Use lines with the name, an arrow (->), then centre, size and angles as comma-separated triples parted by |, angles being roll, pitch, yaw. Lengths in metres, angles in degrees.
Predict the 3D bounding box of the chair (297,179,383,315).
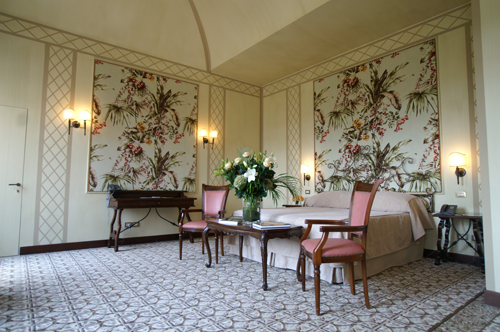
chair -> 1.352, 1.086, 5.590 | 1.517, 2.546, 1.455 | 2, -6, -7

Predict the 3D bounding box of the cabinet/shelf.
cabinet/shelf -> -2.077, 1.110, 7.182 | 1.782, 1.152, 0.664 | 3, -1, -40

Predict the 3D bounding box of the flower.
flower -> 0.249, 0.208, 5.492 | 1.321, 0.906, 1.318 | 15, 0, -11

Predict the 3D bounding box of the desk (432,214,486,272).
desk -> 3.637, 1.244, 5.766 | 0.754, 0.836, 0.659 | -5, -1, 38

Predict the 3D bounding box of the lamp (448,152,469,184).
lamp -> 3.720, 0.047, 6.015 | 0.253, 0.547, 0.252 | -3, -11, 17

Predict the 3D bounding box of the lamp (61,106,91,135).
lamp -> -3.464, -0.882, 6.719 | 0.510, 0.503, 0.217 | 2, -8, -37

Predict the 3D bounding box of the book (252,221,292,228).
book -> 0.319, 0.875, 4.898 | 0.569, 0.054, 0.280 | 0, 9, 0

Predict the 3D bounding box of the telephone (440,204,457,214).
telephone -> 3.428, 0.743, 5.773 | 0.232, 0.128, 0.481 | 6, 11, 35

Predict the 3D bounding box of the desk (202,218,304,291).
desk -> -0.009, 1.281, 5.301 | 1.545, 0.931, 0.728 | 8, 12, 43

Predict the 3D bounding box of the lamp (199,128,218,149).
lamp -> -0.967, -0.664, 8.188 | 0.521, 0.485, 0.152 | -6, 11, -34
